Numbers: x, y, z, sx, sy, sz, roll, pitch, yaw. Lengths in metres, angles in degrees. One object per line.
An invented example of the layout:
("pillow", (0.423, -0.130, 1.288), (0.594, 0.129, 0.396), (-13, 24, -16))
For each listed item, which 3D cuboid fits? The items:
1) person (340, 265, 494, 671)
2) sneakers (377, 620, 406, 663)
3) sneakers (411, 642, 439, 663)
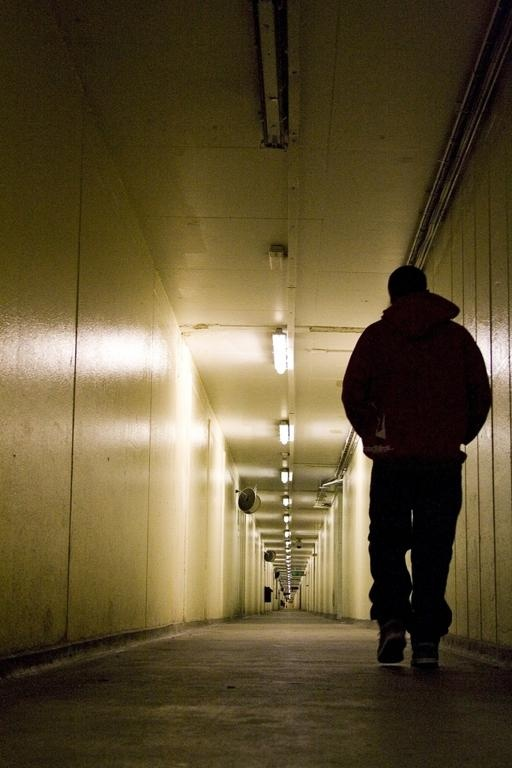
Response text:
("person", (0.599, 0.256, 2.983), (0.536, 1.541, 0.319), (-1, -13, 16))
("sneakers", (0.499, 0.955, 2.923), (0.083, 0.082, 0.191), (0, -30, 5))
("sneakers", (0.607, 0.973, 2.869), (0.092, 0.087, 0.146), (0, -13, 11))
